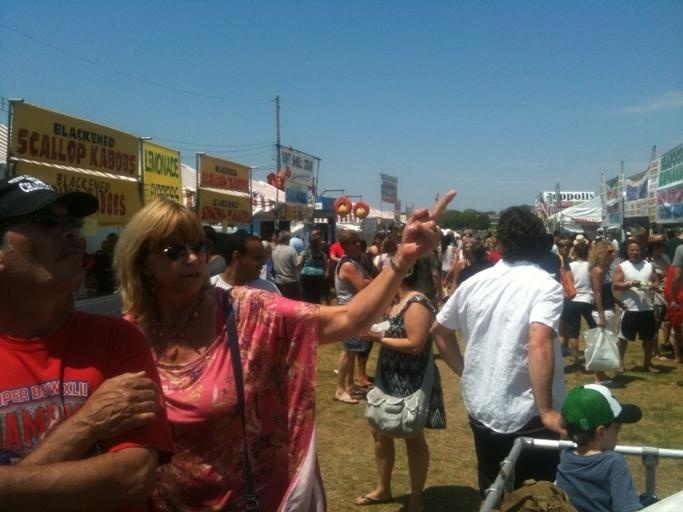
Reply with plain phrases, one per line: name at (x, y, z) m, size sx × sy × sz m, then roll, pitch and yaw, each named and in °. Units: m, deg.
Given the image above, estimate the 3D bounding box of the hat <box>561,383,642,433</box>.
hat at (1.505, 0.886, 3.265) m, size 0.389 × 0.222 × 0.251 m, roll -15°, pitch 11°, yaw 5°

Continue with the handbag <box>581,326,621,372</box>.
handbag at (3.538, 1.267, 7.542) m, size 0.408 × 0.562 × 0.359 m, roll 2°, pitch 2°, yaw 23°

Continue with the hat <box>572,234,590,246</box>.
hat at (5.922, -0.422, 13.736) m, size 0.394 × 0.113 × 0.418 m, roll -4°, pitch 22°, yaw 11°
